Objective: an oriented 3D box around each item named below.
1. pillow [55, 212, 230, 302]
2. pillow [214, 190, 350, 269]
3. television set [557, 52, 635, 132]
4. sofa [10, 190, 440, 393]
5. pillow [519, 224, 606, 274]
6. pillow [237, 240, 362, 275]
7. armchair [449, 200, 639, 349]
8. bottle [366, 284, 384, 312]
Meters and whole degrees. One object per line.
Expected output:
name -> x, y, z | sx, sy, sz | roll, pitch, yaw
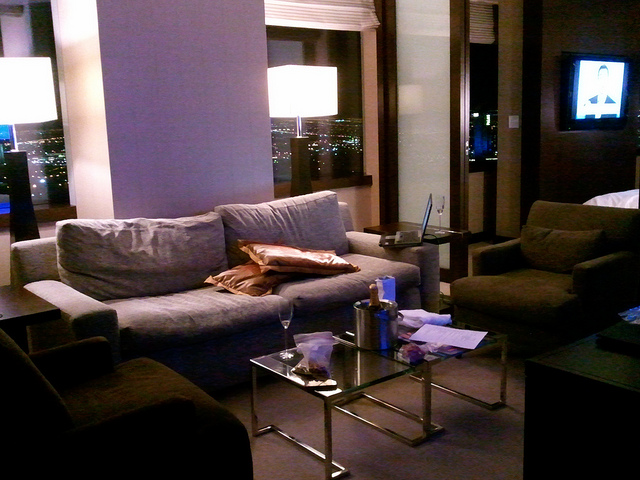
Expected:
pillow -> -1.204, 0.092, 3.550 | 0.534, 0.499, 1.396 | 8, 7, 32
pillow -> -0.280, -0.075, 4.029 | 0.375, 0.443, 1.210 | 7, 16, 41
television set -> 2.046, -1.103, 3.956 | 0.572, 0.601, 0.140 | 11, 26, 41
sofa -> -0.516, 0.236, 3.580 | 2.572, 0.689, 0.978 | -8, 31, -36
pillow -> 1.767, 0.082, 3.762 | 0.283, 0.270, 0.684 | 2, 0, -20
pillow -> -0.094, 0.129, 3.531 | 0.648, 0.073, 0.328 | 2, 14, -26
armchair -> 1.573, 0.183, 3.610 | 1.112, 0.773, 0.881 | -13, 18, -34
bottle -> 0.270, 0.280, 2.606 | 0.078, 0.137, 0.067 | -6, 19, -2
